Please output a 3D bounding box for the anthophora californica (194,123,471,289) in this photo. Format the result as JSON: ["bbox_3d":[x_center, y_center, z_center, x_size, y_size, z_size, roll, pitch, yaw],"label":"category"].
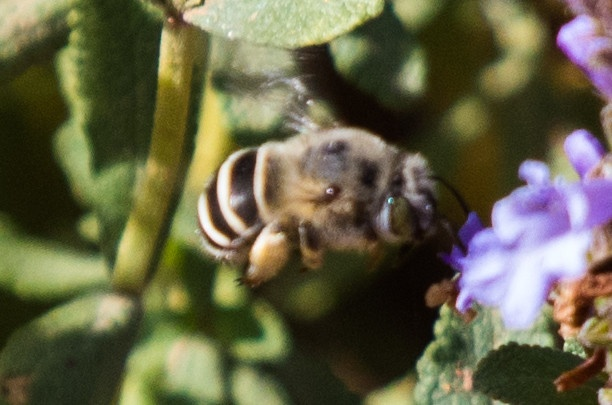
[{"bbox_3d":[0.012,-0.006,0.789,0.227,0.137,0.123,-2,30,7],"label":"anthophora californica"}]
